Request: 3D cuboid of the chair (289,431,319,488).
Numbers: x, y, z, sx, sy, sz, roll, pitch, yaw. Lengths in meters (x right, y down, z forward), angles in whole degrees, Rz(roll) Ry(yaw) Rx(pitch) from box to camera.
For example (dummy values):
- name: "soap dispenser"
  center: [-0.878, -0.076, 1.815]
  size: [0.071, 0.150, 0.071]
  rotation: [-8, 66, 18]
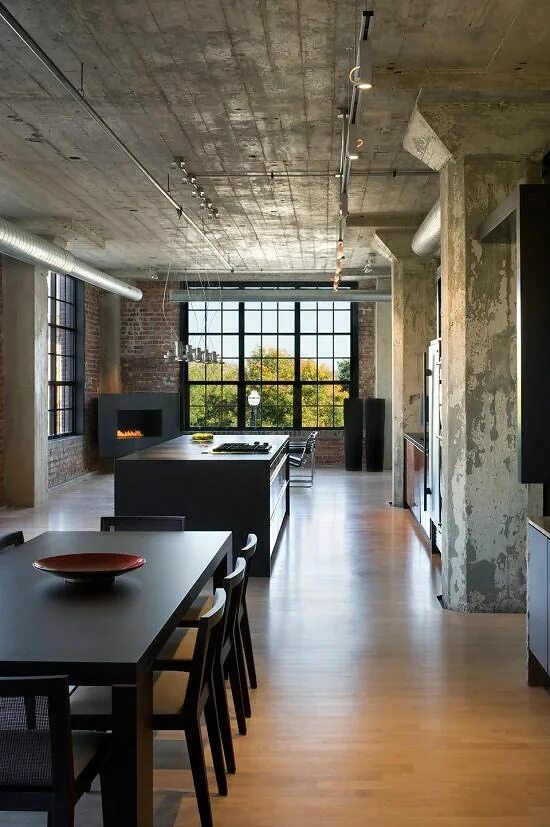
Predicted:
- name: "chair"
  center: [0.447, 0.836, 11.766]
  size: [0.701, 1.080, 0.736]
  rotation: [0, 0, 8]
